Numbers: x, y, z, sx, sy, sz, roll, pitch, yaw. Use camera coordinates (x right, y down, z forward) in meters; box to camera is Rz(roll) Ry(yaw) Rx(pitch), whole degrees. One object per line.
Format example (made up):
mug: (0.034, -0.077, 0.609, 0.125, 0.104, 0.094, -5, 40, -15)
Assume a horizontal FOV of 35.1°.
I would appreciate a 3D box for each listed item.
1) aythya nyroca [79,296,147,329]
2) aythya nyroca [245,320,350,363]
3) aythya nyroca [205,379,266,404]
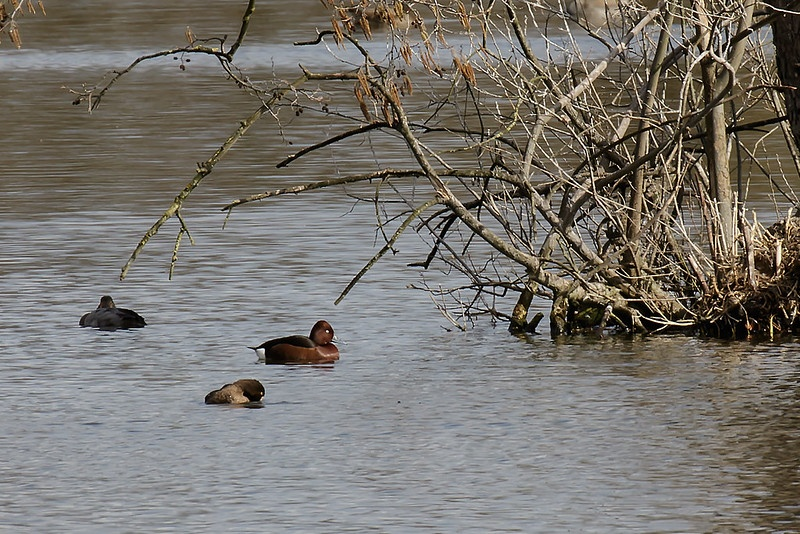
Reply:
aythya nyroca: (-3.680, 0.628, 16.636, 0.715, 0.385, 1.125, -3, 4, -32)
aythya nyroca: (-1.178, 0.927, 15.040, 1.197, 0.344, 0.430, -2, 2, 1)
aythya nyroca: (-1.720, 1.307, 13.240, 0.575, 0.159, 0.280, -6, 2, -18)
